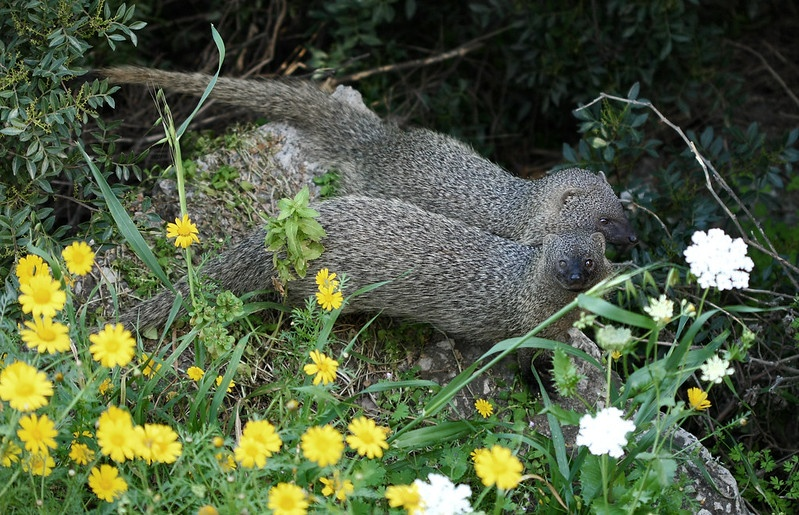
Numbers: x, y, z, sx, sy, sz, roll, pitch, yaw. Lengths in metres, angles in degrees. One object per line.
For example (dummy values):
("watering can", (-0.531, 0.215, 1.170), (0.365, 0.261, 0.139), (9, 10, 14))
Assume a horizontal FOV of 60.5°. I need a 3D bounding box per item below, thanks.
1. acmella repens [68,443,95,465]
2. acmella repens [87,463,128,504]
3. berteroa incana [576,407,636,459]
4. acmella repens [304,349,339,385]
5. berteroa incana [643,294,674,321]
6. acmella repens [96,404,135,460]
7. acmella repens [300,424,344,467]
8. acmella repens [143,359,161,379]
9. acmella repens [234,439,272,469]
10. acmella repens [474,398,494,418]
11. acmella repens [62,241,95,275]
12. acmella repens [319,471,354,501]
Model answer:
("acmella repens", (-1.659, 1.018, 3.555), (0.129, 0.067, 0.153), (35, -27, -13))
("acmella repens", (-1.488, 1.144, 3.472), (0.202, 0.155, 0.251), (34, -27, -13))
("berteroa incana", (1.025, 0.860, 3.408), (0.275, 0.272, 0.066), (49, 2, -2))
("acmella repens", (-0.435, 0.624, 3.798), (0.203, 0.197, 0.076), (62, -15, 7))
("berteroa incana", (1.355, 0.249, 3.570), (0.116, 0.182, 0.177), (9, -32, 32))
("acmella repens", (-1.378, 0.864, 3.346), (0.233, 0.212, 0.191), (34, -27, -13))
("acmella repens", (-0.371, 0.901, 3.288), (0.062, 0.200, 0.212), (16, 55, -85))
("acmella repens", (-1.436, 0.646, 3.944), (0.070, 0.104, 0.326), (33, -27, -13))
("acmella repens", (-0.717, 0.934, 3.354), (0.151, 0.164, 0.043), (-5, 3, 7))
("acmella repens", (0.543, 0.975, 4.424), (0.115, 0.114, 0.027), (52, -17, -6))
("acmella repens", (-1.739, -0.006, 3.701), (0.181, 0.164, 0.053), (63, -17, 10))
("acmella repens", (-0.318, 1.167, 3.474), (0.188, 0.073, 0.186), (57, -39, 9))
